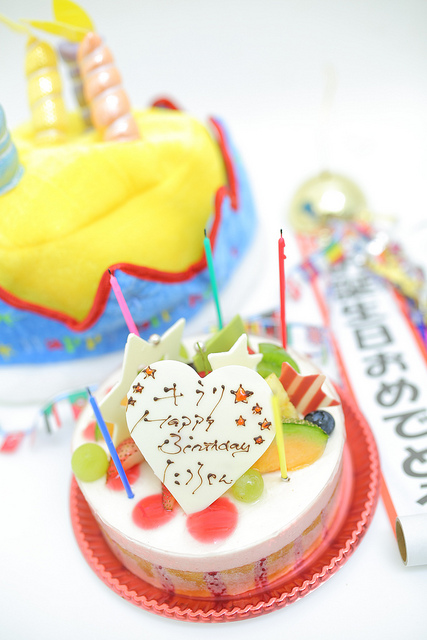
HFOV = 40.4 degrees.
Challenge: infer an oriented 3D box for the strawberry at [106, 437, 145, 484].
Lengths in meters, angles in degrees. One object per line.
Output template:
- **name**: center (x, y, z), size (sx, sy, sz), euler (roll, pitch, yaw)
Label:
- **strawberry**: center (-0.243, 0.399, 1.701), size (0.104, 0.051, 0.147), euler (-33, 3, 17)

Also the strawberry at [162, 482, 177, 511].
- **strawberry**: center (-0.120, 0.477, 1.568), size (0.040, 0.071, 0.019), euler (-9, -6, 6)

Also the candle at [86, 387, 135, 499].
- **candle**: center (-0.282, 0.356, 1.618), size (0.036, 0.399, 0.041), euler (12, 42, 38)

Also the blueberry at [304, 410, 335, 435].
- **blueberry**: center (0.307, 0.294, 1.702), size (0.067, 0.067, 0.035), euler (-16, 17, 34)
